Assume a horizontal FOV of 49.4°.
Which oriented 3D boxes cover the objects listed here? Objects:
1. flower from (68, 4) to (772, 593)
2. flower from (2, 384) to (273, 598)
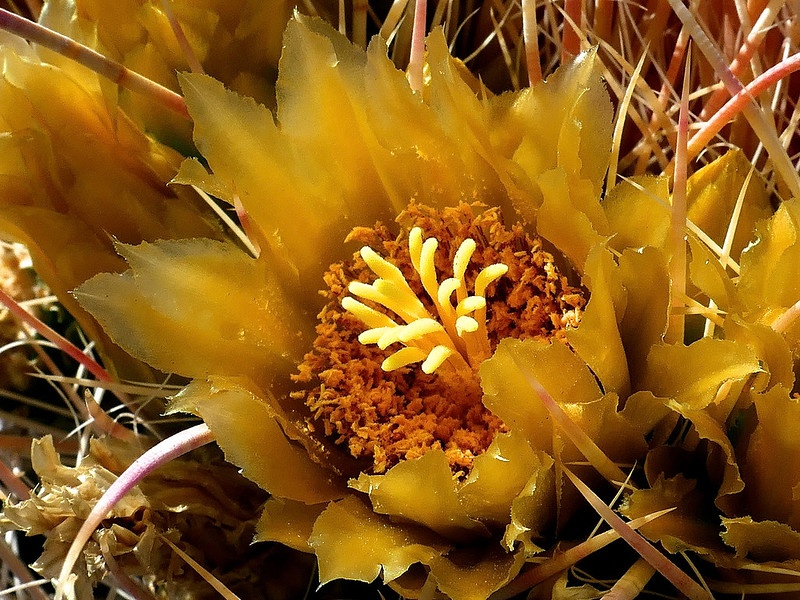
[{"bbox_3d":[0.041,-0.080,0.599,0.397,0.183,0.454,16,84,17],"label":"flower"},{"bbox_3d":[-0.182,0.137,0.632,0.139,0.141,0.070,32,89,25],"label":"flower"}]
